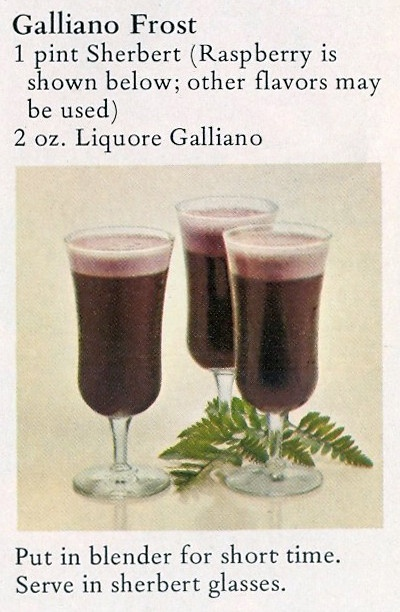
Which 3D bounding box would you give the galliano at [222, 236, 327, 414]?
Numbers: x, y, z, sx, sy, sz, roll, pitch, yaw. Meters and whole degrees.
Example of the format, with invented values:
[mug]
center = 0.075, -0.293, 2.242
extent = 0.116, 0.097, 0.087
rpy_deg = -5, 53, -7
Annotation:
[galliano]
center = 0.216, 0.034, 1.667
extent = 0.286, 0.518, 0.244
rpy_deg = 0, 1, -19
